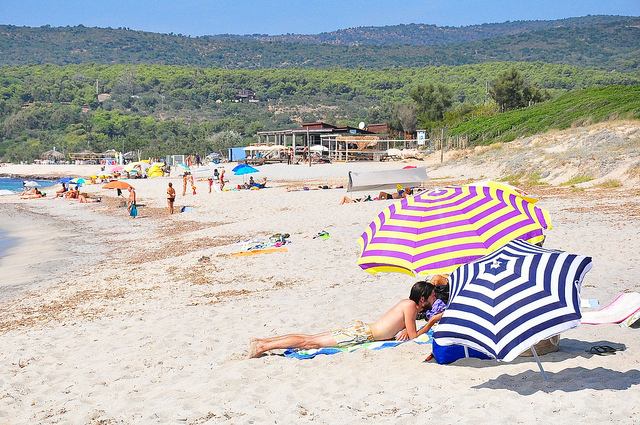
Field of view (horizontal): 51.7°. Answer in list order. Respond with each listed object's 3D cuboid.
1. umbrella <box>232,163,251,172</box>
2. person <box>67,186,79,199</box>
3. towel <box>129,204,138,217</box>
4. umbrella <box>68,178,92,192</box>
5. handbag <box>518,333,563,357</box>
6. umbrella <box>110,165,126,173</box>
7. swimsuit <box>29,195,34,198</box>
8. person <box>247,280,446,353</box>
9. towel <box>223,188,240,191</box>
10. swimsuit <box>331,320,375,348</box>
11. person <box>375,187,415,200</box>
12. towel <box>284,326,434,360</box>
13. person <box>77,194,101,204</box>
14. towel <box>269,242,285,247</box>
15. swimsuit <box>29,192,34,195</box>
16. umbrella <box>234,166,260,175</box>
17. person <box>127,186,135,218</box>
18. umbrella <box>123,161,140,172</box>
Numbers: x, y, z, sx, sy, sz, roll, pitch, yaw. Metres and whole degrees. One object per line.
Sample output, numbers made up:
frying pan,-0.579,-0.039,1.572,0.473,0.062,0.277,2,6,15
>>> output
umbrella,-4.326,-2.620,37.000,1.043,0.322,1.018,-2,0,-35
person,-13.945,-1.130,37.379,0.552,0.637,1.020,-13,12,-37
towel,-8.074,-0.111,28.523,0.274,0.534,0.431,-10,10,-22
umbrella,-15.584,-1.818,42.928,1.548,0.893,1.496,8,4,2
handbag,3.802,2.285,11.476,0.508,0.189,0.538,-13,-18,-38
umbrella,-16.886,-3.681,55.128,1.583,0.540,1.532,-5,1,-36
swimsuit,-17.380,-1.008,39.786,0.148,0.062,0.536,-13,12,-42
person,0.600,1.935,12.416,3.760,1.074,0.893,-9,6,14
towel,-4.793,-1.274,36.156,0.652,0.070,1.555,-11,11,-36
swimsuit,0.586,2.194,12.060,0.686,0.243,0.375,-10,47,-11
person,3.122,-0.845,27.285,1.253,0.460,0.648,0,-4,27
towel,0.379,2.443,11.956,1.802,0.345,0.952,-3,-4,1
person,-12.469,-0.651,35.544,1.008,0.369,0.721,4,0,2
towel,-1.202,0.887,18.582,0.448,0.094,0.143,-12,11,-36
swimsuit,-17.501,-1.193,40.155,0.164,0.106,0.583,-12,11,-35
umbrella,-4.108,-2.347,36.162,1.133,0.446,1.831,-6,9,-4
person,-8.139,-0.456,28.518,0.314,1.281,1.165,-9,10,-17
umbrella,-14.582,-3.530,51.086,0.905,0.641,2.508,-9,10,-20
